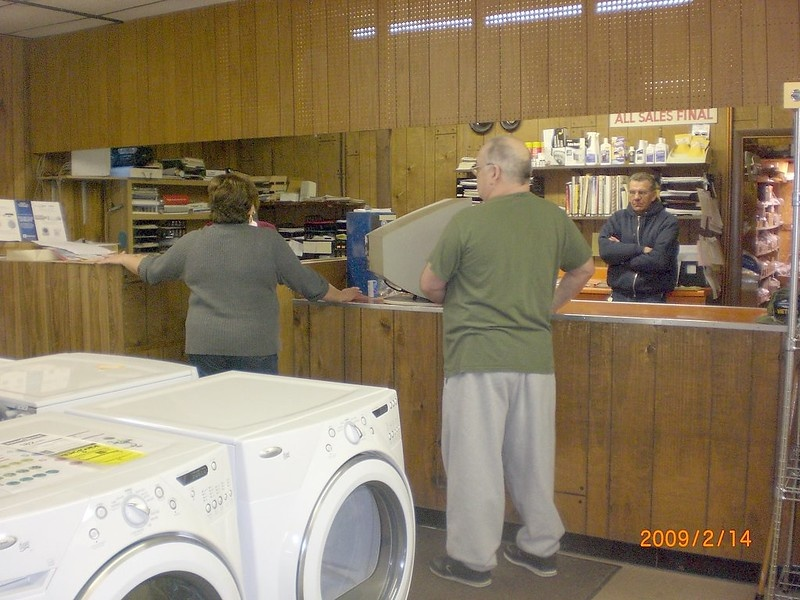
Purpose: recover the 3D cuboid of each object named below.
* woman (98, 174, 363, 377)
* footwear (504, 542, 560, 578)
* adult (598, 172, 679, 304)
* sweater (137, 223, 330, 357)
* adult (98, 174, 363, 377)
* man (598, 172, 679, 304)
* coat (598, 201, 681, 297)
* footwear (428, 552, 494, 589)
[{"bbox_3d":[-1.153,-0.168,4.780,1.547,1.699,0.459,1,12,0],"label":"woman"},{"bbox_3d":[0.633,1.259,3.620,0.285,0.107,0.113,4,5,40],"label":"footwear"},{"bbox_3d":[1.825,-0.258,5.721,0.542,1.393,0.436,3,21,19],"label":"adult"},{"bbox_3d":[-0.822,-0.071,3.734,1.120,0.675,0.363,2,12,-3],"label":"sweater"},{"bbox_3d":[-1.153,-0.168,4.780,1.547,1.699,0.459,1,12,0],"label":"adult"},{"bbox_3d":[1.836,-0.261,5.721,0.536,1.404,0.423,6,21,26],"label":"man"},{"bbox_3d":[1.792,-0.374,5.622,0.560,0.705,0.358,3,9,19],"label":"coat"},{"bbox_3d":[0.284,1.269,3.499,0.279,0.040,0.134,8,23,32],"label":"footwear"}]
